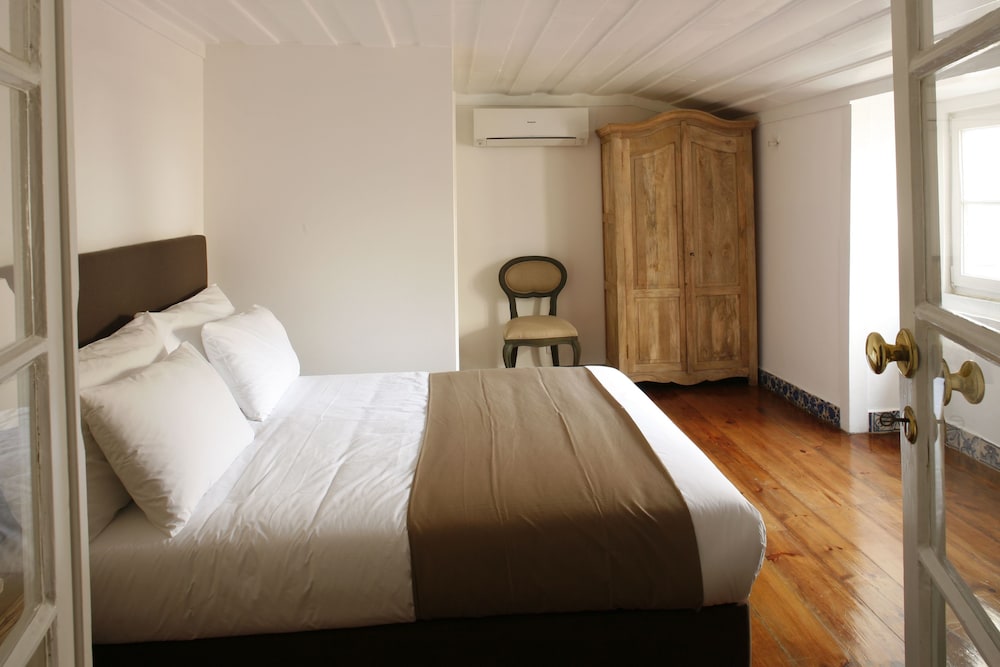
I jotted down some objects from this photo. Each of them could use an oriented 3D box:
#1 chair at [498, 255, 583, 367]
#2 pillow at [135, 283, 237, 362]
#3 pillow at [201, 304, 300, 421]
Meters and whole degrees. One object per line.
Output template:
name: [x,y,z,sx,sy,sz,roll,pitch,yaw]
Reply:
chair: [0.297,-0.201,5.603,0.776,1.216,0.883,-1,6,-5]
pillow: [-1.542,-0.087,3.378,0.111,0.247,0.633,-29,6,11]
pillow: [-1.192,0.151,3.178,0.207,0.191,0.500,14,11,-7]
